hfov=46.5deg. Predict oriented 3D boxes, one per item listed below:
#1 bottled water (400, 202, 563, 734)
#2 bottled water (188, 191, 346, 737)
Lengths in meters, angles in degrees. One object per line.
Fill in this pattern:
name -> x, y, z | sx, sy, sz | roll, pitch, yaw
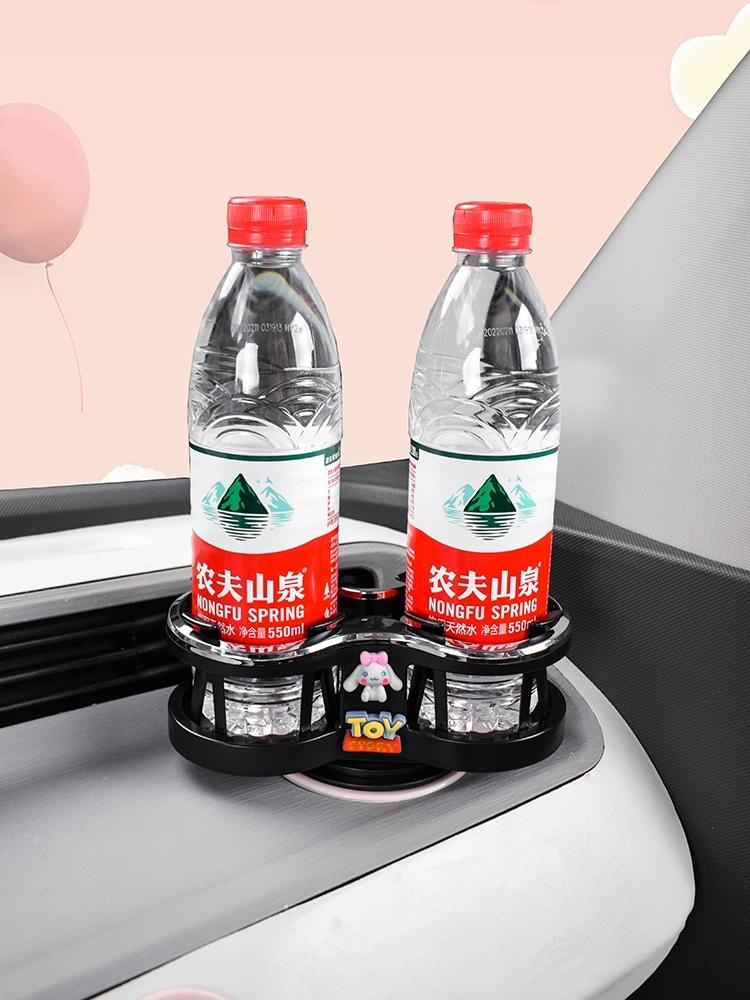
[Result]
bottled water -> 0.066, -0.022, 0.556 | 0.099, 0.311, 0.192 | 5, 15, 12
bottled water -> -0.071, -0.018, 0.528 | 0.099, 0.307, 0.158 | 1, 15, -3
